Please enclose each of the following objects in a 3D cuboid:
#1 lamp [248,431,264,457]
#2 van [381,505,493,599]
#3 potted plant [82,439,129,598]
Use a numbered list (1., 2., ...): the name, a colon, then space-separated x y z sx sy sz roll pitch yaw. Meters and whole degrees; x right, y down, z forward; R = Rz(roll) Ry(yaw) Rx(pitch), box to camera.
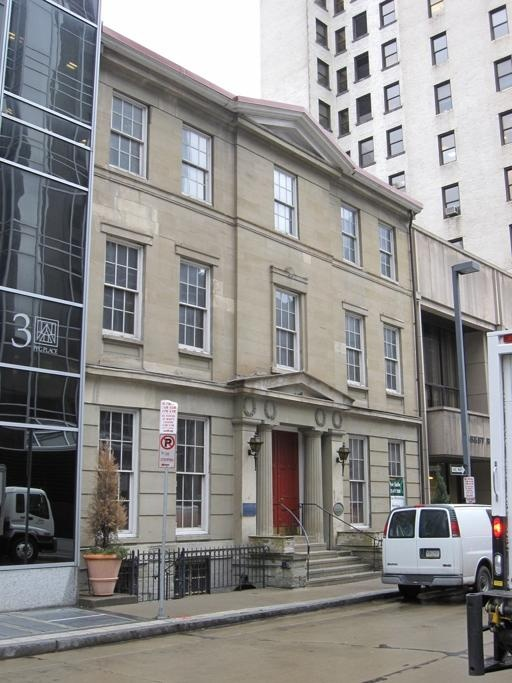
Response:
1. lamp: -0.012 2.469 16.586 0.291 0.669 0.540 -3 -14 17
2. van: 3.276 4.064 13.081 1.769 1.550 2.792 -7 -12 32
3. potted plant: -2.657 3.162 12.470 0.681 2.628 0.857 4 -13 -14
